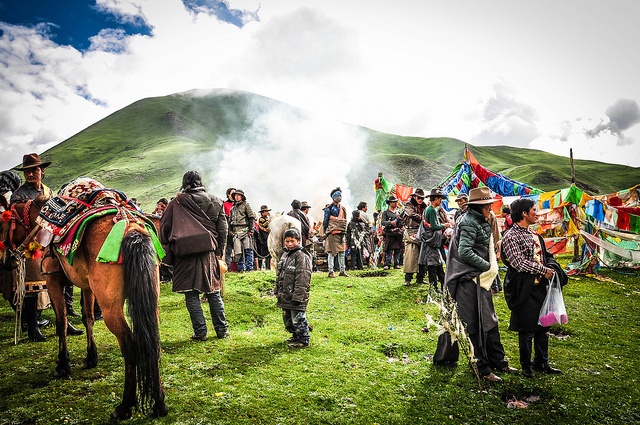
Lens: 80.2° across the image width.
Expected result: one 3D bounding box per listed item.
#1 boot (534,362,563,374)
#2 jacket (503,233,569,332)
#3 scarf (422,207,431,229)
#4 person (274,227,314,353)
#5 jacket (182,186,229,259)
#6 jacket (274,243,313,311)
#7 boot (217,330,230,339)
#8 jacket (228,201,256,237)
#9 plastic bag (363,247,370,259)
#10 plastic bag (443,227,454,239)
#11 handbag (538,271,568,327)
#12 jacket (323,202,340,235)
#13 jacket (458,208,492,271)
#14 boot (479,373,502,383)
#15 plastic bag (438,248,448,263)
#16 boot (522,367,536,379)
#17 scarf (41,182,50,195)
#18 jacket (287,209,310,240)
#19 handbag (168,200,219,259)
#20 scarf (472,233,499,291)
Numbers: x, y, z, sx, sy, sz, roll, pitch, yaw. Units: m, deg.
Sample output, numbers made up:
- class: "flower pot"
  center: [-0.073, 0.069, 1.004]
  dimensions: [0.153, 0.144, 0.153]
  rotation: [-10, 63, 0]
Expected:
- class: "boot"
  center: [4.316, 2.920, 7.138]
  dimensions: [0.524, 0.161, 0.126]
  rotation: [3, 13, 4]
- class: "jacket"
  center: [4.144, 1.239, 7.412]
  dimensions: [1.317, 1.987, 1.110]
  rotation: [-5, 1, -5]
- class: "scarf"
  center: [3.076, 0.161, 10.899]
  dimensions: [0.112, 0.546, 0.480]
  rotation: [-1, 13, -15]
- class: "person"
  center: [-0.571, 1.578, 8.022]
  dimensions: [0.715, 2.374, 1.251]
  rotation: [-1, 13, -14]
- class: "jacket"
  center: [-2.441, 0.293, 8.305]
  dimensions: [0.777, 1.663, 0.606]
  rotation: [3, 13, 2]
- class: "jacket"
  center: [-0.537, 1.339, 8.129]
  dimensions: [0.743, 1.356, 0.821]
  rotation: [0, -1, 1]
- class: "boot"
  center: [-2.054, 2.596, 8.068]
  dimensions: [0.083, 0.095, 0.243]
  rotation: [7, 10, 27]
- class: "jacket"
  center: [-2.933, 0.286, 13.998]
  dimensions: [1.463, 1.512, 0.672]
  rotation: [0, -14, -1]
- class: "plastic bag"
  center: [2.224, 2.017, 18.677]
  dimensions: [0.186, 0.646, 0.629]
  rotation: [8, 14, 24]
- class: "plastic bag"
  center: [3.908, 0.619, 11.725]
  dimensions: [0.254, 0.321, 0.696]
  rotation: [5, 13, 13]
- class: "handbag"
  center: [4.287, 1.629, 6.941]
  dimensions: [0.428, 1.047, 0.434]
  rotation: [10, 15, 30]
- class: "jacket"
  center: [0.427, 0.169, 14.499]
  dimensions: [0.745, 1.019, 0.492]
  rotation: [-3, 14, -22]
- class: "jacket"
  center: [2.822, 0.507, 7.270]
  dimensions: [0.611, 1.088, 0.719]
  rotation: [4, -1, -9]
- class: "boot"
  center: [3.073, 2.997, 6.868]
  dimensions: [0.323, 0.199, 0.109]
  rotation: [-21, -7, 35]
- class: "plastic bag"
  center: [3.624, 1.223, 11.283]
  dimensions: [0.267, 0.371, 1.039]
  rotation: [6, 14, 18]
- class: "boot"
  center: [3.849, 2.942, 6.978]
  dimensions: [0.231, 0.150, 0.144]
  rotation: [6, 13, 16]
- class: "scarf"
  center: [-5.844, -0.469, 8.061]
  dimensions: [0.111, 0.274, 0.258]
  rotation: [-26, 32, -36]
- class: "jacket"
  center: [-0.652, 0.344, 11.857]
  dimensions: [0.595, 0.650, 1.233]
  rotation: [1, 13, -3]
- class: "handbag"
  center: [-2.688, 0.366, 7.866]
  dimensions: [1.025, 1.231, 0.688]
  rotation: [-12, -10, -33]
- class: "scarf"
  center: [3.161, 0.920, 7.254]
  dimensions: [0.423, 1.039, 0.404]
  rotation: [1, 1, 10]
